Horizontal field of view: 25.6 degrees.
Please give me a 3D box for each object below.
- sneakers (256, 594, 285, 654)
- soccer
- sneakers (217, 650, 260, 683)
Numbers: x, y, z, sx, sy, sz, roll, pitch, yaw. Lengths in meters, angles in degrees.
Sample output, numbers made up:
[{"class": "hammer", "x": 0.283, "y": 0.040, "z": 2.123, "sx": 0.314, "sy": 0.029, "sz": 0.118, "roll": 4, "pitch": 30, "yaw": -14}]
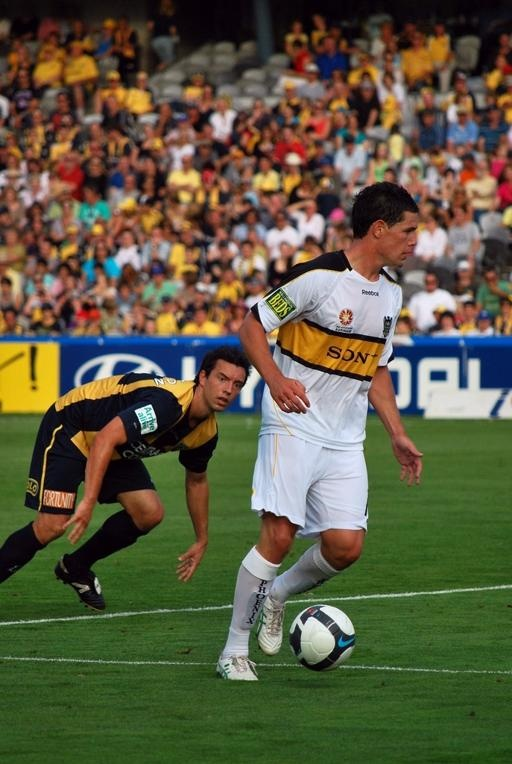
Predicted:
[{"class": "sneakers", "x": 0.070, "y": 0.911, "z": 4.230, "sx": 0.087, "sy": 0.226, "sz": 0.122, "roll": 3, "pitch": -26, "yaw": -18}, {"class": "soccer", "x": 0.231, "y": 0.935, "z": 4.066, "sx": 0.265, "sy": 0.216, "sz": 0.237, "roll": -4, "pitch": -13, "yaw": -7}, {"class": "sneakers", "x": -0.058, "y": 1.021, "z": 3.978, "sx": 0.066, "sy": 0.061, "sz": 0.171, "roll": -2, "pitch": -6, "yaw": -35}]
